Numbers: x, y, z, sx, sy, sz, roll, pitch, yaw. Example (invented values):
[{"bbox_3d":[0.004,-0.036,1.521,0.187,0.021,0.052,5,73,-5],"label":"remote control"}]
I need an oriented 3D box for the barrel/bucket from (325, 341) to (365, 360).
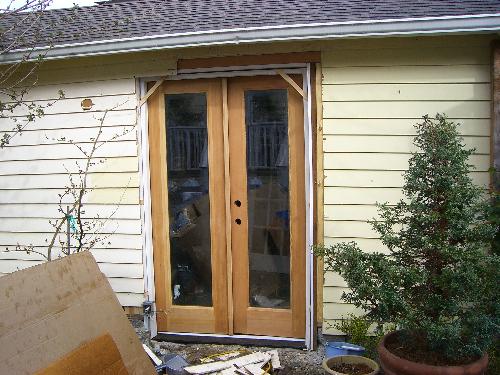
[{"bbox_3d":[0.866,1.495,4.221,0.217,0.081,0.189,5,2,26],"label":"barrel/bucket"}]
